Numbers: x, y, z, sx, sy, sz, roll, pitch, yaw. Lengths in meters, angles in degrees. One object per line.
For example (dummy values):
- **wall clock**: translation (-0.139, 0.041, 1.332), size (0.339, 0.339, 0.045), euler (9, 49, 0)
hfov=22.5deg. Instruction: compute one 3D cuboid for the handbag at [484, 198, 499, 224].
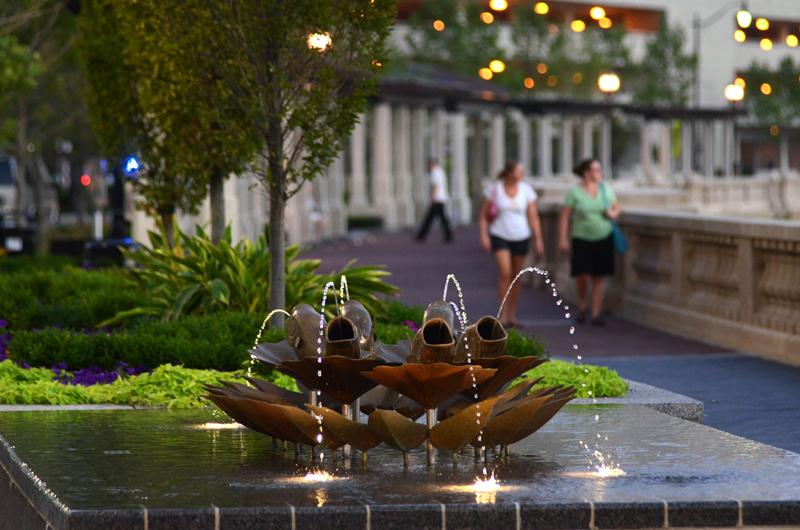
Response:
- **handbag**: translation (1.615, -0.909, 34.745), size (0.232, 0.699, 0.595), euler (4, 6, 6)
